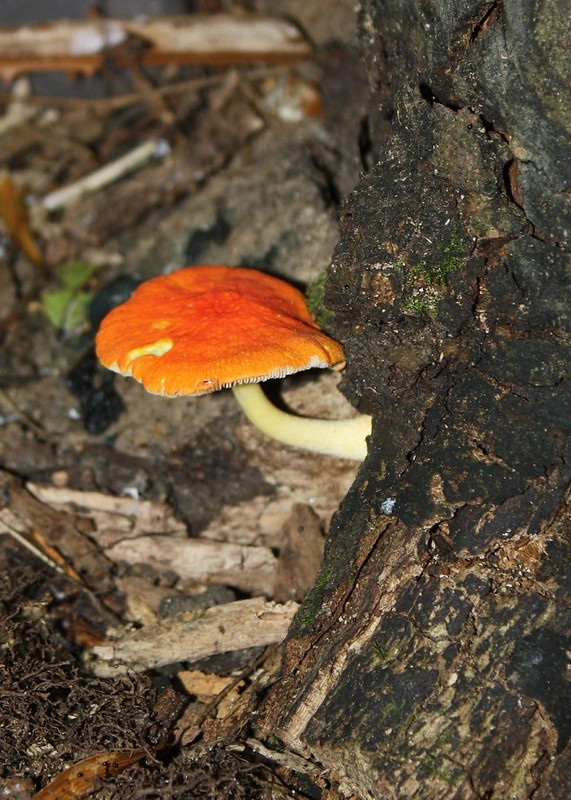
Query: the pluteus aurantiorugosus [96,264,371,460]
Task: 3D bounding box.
[{"bbox_3d":[-0.214,-0.256,5.916,1.441,1.430,1.414,-18,13,-30],"label":"pluteus aurantiorugosus"}]
